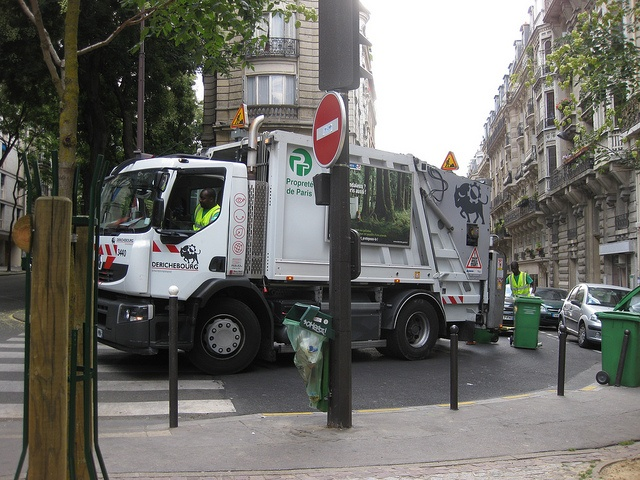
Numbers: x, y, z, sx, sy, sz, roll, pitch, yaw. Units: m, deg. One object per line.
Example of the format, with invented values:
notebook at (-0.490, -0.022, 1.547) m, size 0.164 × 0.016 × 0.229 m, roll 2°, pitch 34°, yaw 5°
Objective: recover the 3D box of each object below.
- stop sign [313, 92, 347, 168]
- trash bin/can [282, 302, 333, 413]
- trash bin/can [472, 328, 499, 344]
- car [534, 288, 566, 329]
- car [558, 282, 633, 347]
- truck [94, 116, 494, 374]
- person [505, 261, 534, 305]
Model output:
stop sign at (0.136, -1.313, 7.773) m, size 0.135 × 0.874 × 0.620 m, roll 1°, pitch 0°, yaw -30°
trash bin/can at (-0.132, 1.412, 7.703) m, size 0.562 × 1.271 × 0.255 m, roll 1°, pitch 0°, yaw -3°
trash bin/can at (3.824, 2.227, 14.998) m, size 0.435 × 0.485 × 0.628 m, roll 1°, pitch -8°, yaw -4°
car at (7.743, 2.248, 21.974) m, size 0.905 × 0.942 × 1.831 m, roll 0°, pitch -15°, yaw 3°
car at (6.276, 1.729, 14.874) m, size 1.132 × 1.234 × 2.294 m, roll 2°, pitch -11°, yaw 3°
truck at (0.284, 0.251, 12.070) m, size 8.453 × 4.061 × 3.325 m, roll 3°, pitch -1°, yaw -39°
person at (5.230, 1.370, 17.048) m, size 0.698 × 1.586 × 0.505 m, roll -10°, pitch -35°, yaw 19°
